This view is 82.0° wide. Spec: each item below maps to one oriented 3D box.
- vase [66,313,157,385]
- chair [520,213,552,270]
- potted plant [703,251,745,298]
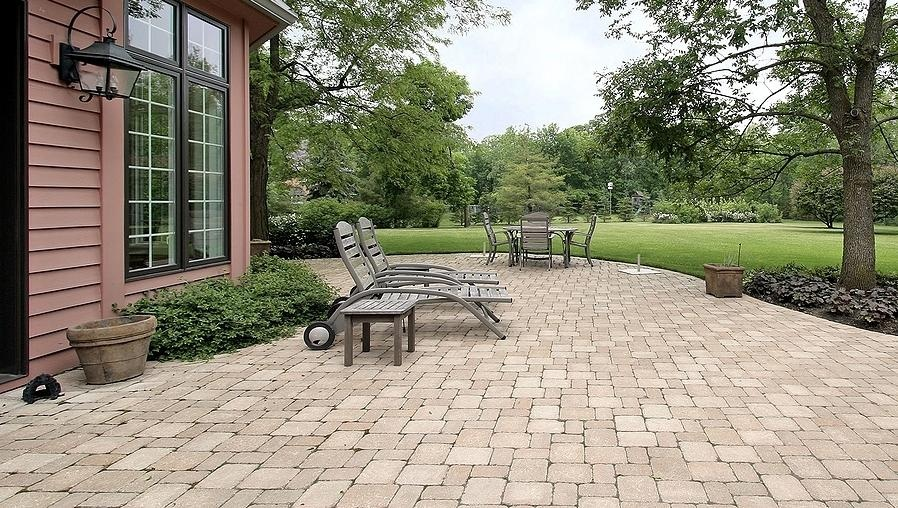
[{"bbox_3d":[-4.033,1.204,6.257,1.006,0.570,0.926,-10,-10,15],"label":"vase"},{"bbox_3d":[2.606,-0.511,15.607,0.922,1.563,2.977,1,8,8],"label":"chair"},{"bbox_3d":[5.676,0.533,10.666,0.670,0.499,0.941,-2,4,14],"label":"potted plant"}]
